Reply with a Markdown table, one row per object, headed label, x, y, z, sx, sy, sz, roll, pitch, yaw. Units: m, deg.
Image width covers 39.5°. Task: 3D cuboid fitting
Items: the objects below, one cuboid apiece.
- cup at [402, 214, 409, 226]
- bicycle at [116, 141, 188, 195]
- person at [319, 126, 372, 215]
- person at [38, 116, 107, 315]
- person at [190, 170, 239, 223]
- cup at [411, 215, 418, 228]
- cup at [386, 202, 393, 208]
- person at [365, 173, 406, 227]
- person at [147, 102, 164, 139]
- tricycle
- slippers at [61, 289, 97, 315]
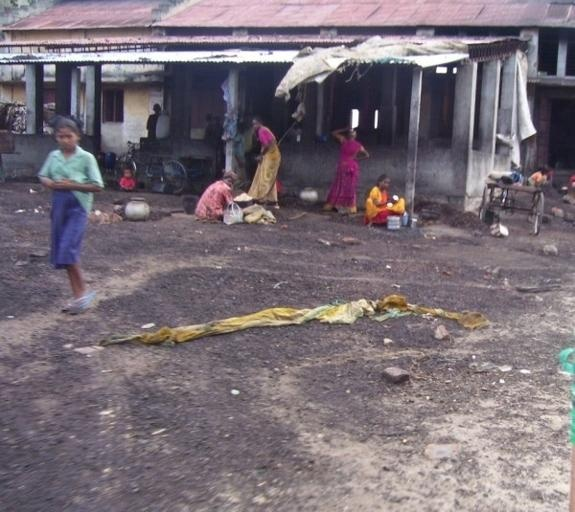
| label | x | y | z | sx | sy | sz | roll | pitch | yaw |
| --- | --- | --- | --- | --- | --- | --- | --- | --- | --- |
| cup | 1.998 | -0.603 | 13.519 | 0.119 | 0.196 | 0.078 | 3 | 8 | 8 |
| bicycle | -2.849 | -1.977 | 17.945 | 2.277 | 1.088 | 0.888 | 15 | 14 | 39 |
| person | 1.053 | -1.530 | 14.524 | 0.759 | 1.526 | 0.446 | 4 | 8 | 15 |
| person | -2.093 | -0.402 | 7.755 | 0.592 | 1.858 | 0.495 | -1 | 8 | -17 |
| person | -1.111 | -0.964 | 12.788 | 0.733 | 0.796 | 0.692 | -14 | 25 | -34 |
| cup | 2.127 | -0.577 | 13.443 | 0.104 | 0.201 | 0.114 | 2 | 8 | 0 |
| cup | 1.733 | -0.847 | 13.497 | 0.086 | 0.075 | 0.157 | 3 | 8 | 7 |
| person | 1.642 | -0.974 | 13.620 | 0.664 | 0.786 | 0.578 | -8 | 15 | -9 |
| person | -3.095 | -3.102 | 18.579 | 0.320 | 0.835 | 0.542 | 0 | 8 | -10 |
| tricycle | 4.036 | -1.034 | 14.135 | 0.687 | 0.535 | 1.049 | -12 | 3 | -20 |
| slippers | -2.011 | 0.468 | 7.867 | 0.389 | 0.167 | 0.131 | -30 | 2 | -34 |
